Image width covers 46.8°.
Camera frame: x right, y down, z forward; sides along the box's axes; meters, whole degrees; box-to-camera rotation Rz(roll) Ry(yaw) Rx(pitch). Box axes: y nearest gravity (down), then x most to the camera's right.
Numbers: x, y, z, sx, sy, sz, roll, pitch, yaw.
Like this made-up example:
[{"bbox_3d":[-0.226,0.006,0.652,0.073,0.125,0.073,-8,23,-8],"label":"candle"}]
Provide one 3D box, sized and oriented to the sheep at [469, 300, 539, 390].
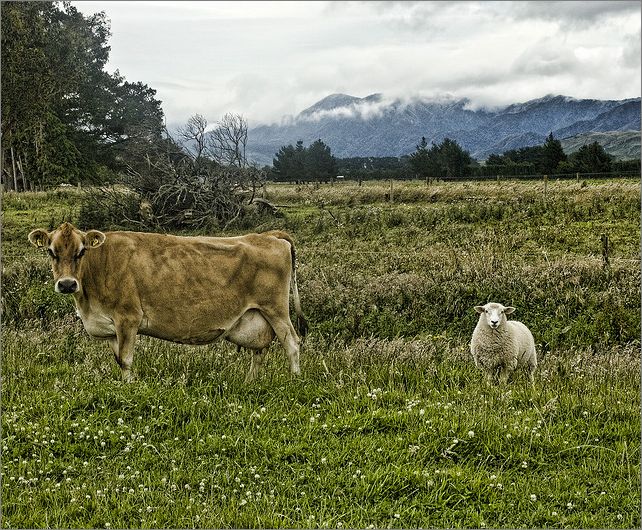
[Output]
[{"bbox_3d":[2.954,1.245,11.932,1.189,1.280,0.736,-6,5,-24],"label":"sheep"}]
